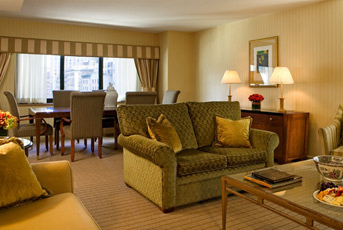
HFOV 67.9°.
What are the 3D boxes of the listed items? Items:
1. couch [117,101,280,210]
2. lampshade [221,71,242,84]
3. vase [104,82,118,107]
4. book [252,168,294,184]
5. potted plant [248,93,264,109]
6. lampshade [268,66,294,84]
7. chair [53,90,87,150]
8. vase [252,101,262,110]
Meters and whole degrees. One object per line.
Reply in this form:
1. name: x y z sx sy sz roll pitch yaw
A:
1. couch: 0.436 0.464 3.770 2.083 1.270 1.161 -2 4 -29
2. lampshade: 1.434 -0.878 5.948 0.338 0.309 0.333 -6 11 -22
3. vase: -1.356 -0.445 5.703 0.302 0.531 0.397 -4 8 -15
4. book: 0.974 0.570 2.419 0.337 0.067 0.394 1 4 -8
5. potted plant: 1.778 -0.298 5.315 0.301 0.296 0.299 0 4 -5
6. lampshade: 2.135 -0.764 4.920 0.431 0.316 0.169 1 8 20
7. chair: -2.250 0.091 5.817 0.709 1.309 0.749 -1 4 -29
8. vase: 1.810 -0.199 5.405 0.166 0.156 0.164 -1 5 -22
